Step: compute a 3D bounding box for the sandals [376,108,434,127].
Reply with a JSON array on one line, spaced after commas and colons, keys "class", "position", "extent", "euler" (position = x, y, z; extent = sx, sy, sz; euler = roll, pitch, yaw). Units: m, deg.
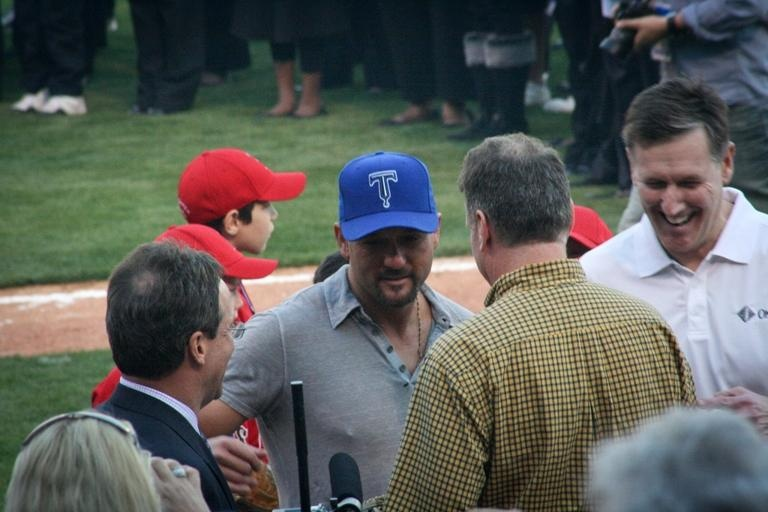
[{"class": "sandals", "position": [0.126, -1.088, 12.873], "extent": [0.498, 0.204, 0.154], "euler": [-1, 15, -6]}]

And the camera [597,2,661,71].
[{"class": "camera", "position": [1.710, -1.595, 11.730], "extent": [0.260, 0.411, 0.742], "euler": [-1, 7, -2]}]

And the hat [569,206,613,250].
[{"class": "hat", "position": [1.263, -0.178, 10.402], "extent": [0.222, 0.190, 0.338], "euler": [4, 10, -37]}]

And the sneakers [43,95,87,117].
[{"class": "sneakers", "position": [-2.301, -1.095, 12.092], "extent": [0.252, 0.105, 0.149], "euler": [5, 16, -7]}]

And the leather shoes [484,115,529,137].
[{"class": "leather shoes", "position": [0.939, -0.996, 12.847], "extent": [0.422, 0.178, 0.197], "euler": [-1, 5, -9]}]

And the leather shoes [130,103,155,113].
[{"class": "leather shoes", "position": [-1.754, -1.077, 12.152], "extent": [0.173, 0.075, 0.065], "euler": [-2, 7, -10]}]

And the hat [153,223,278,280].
[{"class": "hat", "position": [-0.954, -0.034, 9.901], "extent": [0.545, 0.213, 0.346], "euler": [10, 9, -15]}]

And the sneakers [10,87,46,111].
[{"class": "sneakers", "position": [-2.559, -1.126, 12.089], "extent": [0.252, 0.155, 0.050], "euler": [-3, 7, -15]}]
